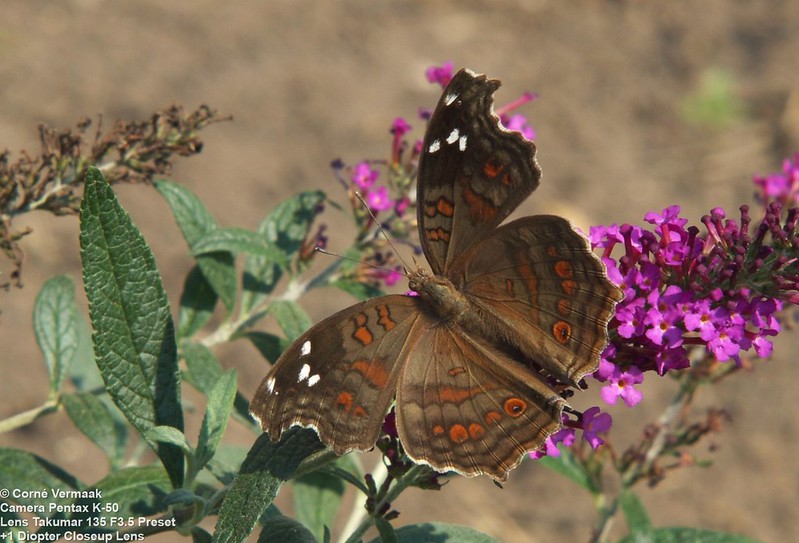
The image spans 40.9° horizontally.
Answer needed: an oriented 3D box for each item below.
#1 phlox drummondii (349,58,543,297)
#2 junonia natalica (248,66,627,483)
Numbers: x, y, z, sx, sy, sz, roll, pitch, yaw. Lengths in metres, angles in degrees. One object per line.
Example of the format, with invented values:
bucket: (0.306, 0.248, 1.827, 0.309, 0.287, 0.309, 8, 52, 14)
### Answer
phlox drummondii: (0.440, -0.680, 7.134, 1.286, 0.650, 1.327, 49, -63, 12)
junonia natalica: (0.439, -0.070, 7.958, 2.409, 2.686, 2.715, -1, -88, 0)
